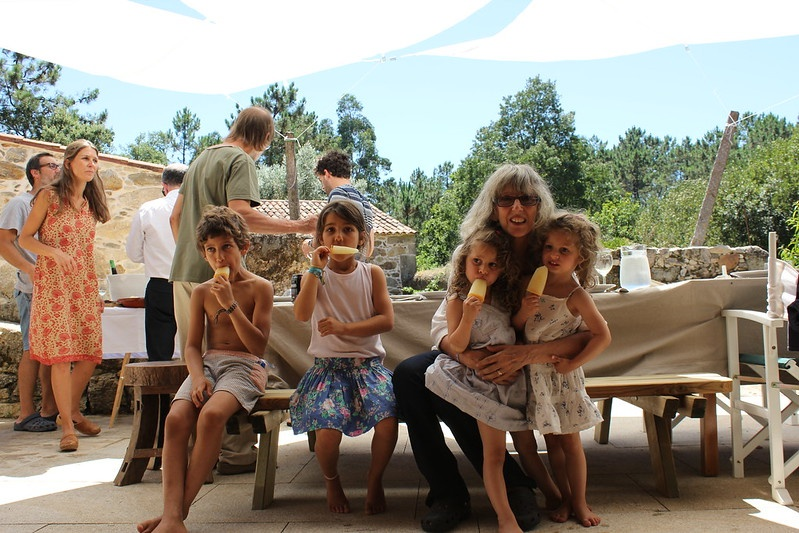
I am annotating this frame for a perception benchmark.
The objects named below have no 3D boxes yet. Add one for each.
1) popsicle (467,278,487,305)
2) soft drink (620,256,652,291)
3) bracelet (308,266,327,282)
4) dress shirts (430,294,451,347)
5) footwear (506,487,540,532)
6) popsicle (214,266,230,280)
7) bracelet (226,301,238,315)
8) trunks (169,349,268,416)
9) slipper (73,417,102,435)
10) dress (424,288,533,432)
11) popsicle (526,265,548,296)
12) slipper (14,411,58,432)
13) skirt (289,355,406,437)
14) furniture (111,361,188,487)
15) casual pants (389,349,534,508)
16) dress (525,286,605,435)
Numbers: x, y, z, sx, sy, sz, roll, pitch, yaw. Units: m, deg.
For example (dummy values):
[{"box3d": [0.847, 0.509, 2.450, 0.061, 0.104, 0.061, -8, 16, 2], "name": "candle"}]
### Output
[{"box3d": [0.450, 0.140, 3.464, 0.101, 0.139, 0.074, 20, -42, 8], "name": "popsicle"}, {"box3d": [1.828, 0.047, 4.654, 0.265, 0.269, 0.260, 1, 5, 21], "name": "soft drink"}, {"box3d": [-0.508, 0.046, 3.675, 0.100, 0.071, 0.079, -1, 8, -4], "name": "bracelet"}, {"box3d": [0.248, 0.353, 3.708, 0.093, 0.249, 0.196, 4, -1, 3], "name": "dress shirts"}, {"box3d": [0.710, 1.381, 3.419, 0.165, 0.202, 0.069, -5, -26, -16], "name": "footwear"}, {"box3d": [-1.086, 0.039, 3.652, 0.066, 0.061, 0.111, 16, -8, -26], "name": "popsicle"}, {"box3d": [-1.016, 0.246, 3.618, 0.057, 0.041, 0.061, -37, 0, 16], "name": "bracelet"}, {"box3d": [-1.018, 0.676, 3.628, 0.351, 0.190, 0.464, -1, 1, 7], "name": "trunks"}, {"box3d": [-2.786, 1.406, 5.258, 0.278, 0.105, 0.096, 25, 14, -25], "name": "slipper"}, {"box3d": [0.452, 0.581, 3.499, 0.604, 0.715, 0.304, -1, 4, 1], "name": "dress"}, {"box3d": [0.809, 0.086, 3.523, 0.103, 0.177, 0.060, 19, -11, 5], "name": "popsicle"}, {"box3d": [-3.278, 1.389, 5.386, 0.302, 0.105, 0.165, -2, -4, 21], "name": "slipper"}, {"box3d": [-0.308, 0.754, 3.773, 0.814, 0.425, 0.478, -8, 3, 4], "name": "skirt"}, {"box3d": [-1.577, 1.082, 4.205, 0.688, 0.736, 0.717, 6, -13, -40], "name": "furniture"}, {"box3d": [0.212, 0.961, 3.419, 0.629, 0.921, 0.253, -5, 2, 5], "name": "casual pants"}, {"box3d": [0.963, 0.586, 3.521, 0.427, 0.821, 0.327, -1, 4, 6], "name": "dress"}]
